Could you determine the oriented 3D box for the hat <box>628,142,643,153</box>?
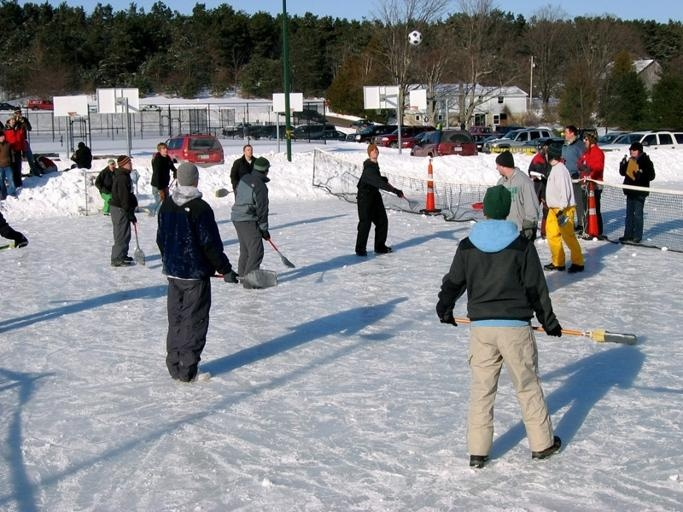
[{"bbox_3d":[5.870,-2.180,14.436,0.232,0.244,0.189,16,10,27],"label":"hat"}]

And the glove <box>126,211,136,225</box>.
[{"bbox_3d":[-3.773,-0.694,12.739,0.167,0.232,0.234,1,-4,-15],"label":"glove"}]

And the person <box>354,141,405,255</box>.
[{"bbox_3d":[0.645,-1.107,13.890,0.824,2.178,1.106,0,14,3],"label":"person"}]

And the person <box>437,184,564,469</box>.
[{"bbox_3d":[1.355,0.777,6.275,1.033,2.149,0.469,3,15,14],"label":"person"}]

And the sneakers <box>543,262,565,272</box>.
[{"bbox_3d":[3.664,0.188,12.504,0.309,0.148,0.136,7,8,21],"label":"sneakers"}]

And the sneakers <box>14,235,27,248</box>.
[{"bbox_3d":[-4.744,-0.224,10.569,0.208,0.207,0.121,3,17,4],"label":"sneakers"}]

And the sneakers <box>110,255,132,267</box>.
[{"bbox_3d":[-4.036,0.081,13.279,0.408,0.302,0.153,-4,7,-4],"label":"sneakers"}]

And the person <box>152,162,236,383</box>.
[{"bbox_3d":[-1.651,0.195,7.902,0.684,2.363,0.470,-5,15,-15],"label":"person"}]

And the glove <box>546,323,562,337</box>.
[{"bbox_3d":[1.863,0.653,6.372,0.108,0.106,0.139,3,0,24],"label":"glove"}]

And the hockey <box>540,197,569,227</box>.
[{"bbox_3d":[3.621,-0.720,12.125,0.317,0.511,0.131,-3,-2,4],"label":"hockey"}]

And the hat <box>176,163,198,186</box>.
[{"bbox_3d":[-1.705,-0.894,7.905,0.227,0.267,0.311,-5,15,-14],"label":"hat"}]

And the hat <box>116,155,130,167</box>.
[{"bbox_3d":[-3.822,-1.661,12.552,0.207,0.190,0.382,-6,16,-18],"label":"hat"}]

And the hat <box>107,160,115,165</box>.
[{"bbox_3d":[-4.687,-1.929,14.558,0.098,0.116,0.137,-5,-9,-15],"label":"hat"}]

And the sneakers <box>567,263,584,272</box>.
[{"bbox_3d":[3.965,0.187,12.303,0.266,0.117,0.116,-4,26,-8],"label":"sneakers"}]

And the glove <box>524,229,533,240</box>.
[{"bbox_3d":[2.574,-0.317,9.979,0.055,0.234,0.239,-2,3,28],"label":"glove"}]

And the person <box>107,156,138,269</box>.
[{"bbox_3d":[-3.954,-0.783,12.845,0.507,2.034,0.792,-6,15,-18],"label":"person"}]

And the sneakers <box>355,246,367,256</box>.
[{"bbox_3d":[0.351,-0.095,13.794,0.143,0.213,0.209,-2,-7,-9],"label":"sneakers"}]

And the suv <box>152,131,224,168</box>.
[{"bbox_3d":[-5.705,-4.133,27.217,1.551,1.366,3.179,-6,17,-26],"label":"suv"}]

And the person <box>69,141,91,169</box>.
[{"bbox_3d":[-7.917,-3.061,21.799,0.492,0.887,1.473,-7,16,-21],"label":"person"}]

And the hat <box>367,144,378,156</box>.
[{"bbox_3d":[0.539,-1.960,13.284,0.193,0.278,0.207,-8,7,-37],"label":"hat"}]

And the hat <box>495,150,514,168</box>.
[{"bbox_3d":[2.353,-1.401,10.416,0.236,0.258,0.242,1,15,9],"label":"hat"}]

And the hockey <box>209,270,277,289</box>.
[{"bbox_3d":[-1.298,0.320,10.256,0.689,0.241,0.455,-1,3,15],"label":"hockey"}]

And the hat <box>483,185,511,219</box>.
[{"bbox_3d":[1.348,-0.455,6.309,0.240,0.325,0.272,0,15,2],"label":"hat"}]
